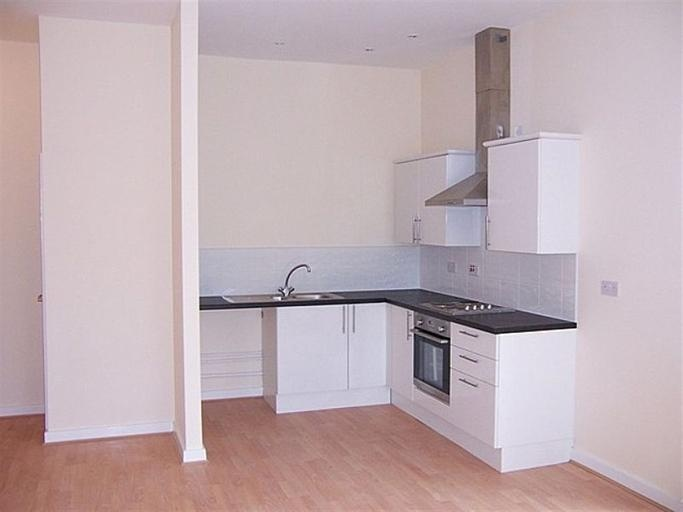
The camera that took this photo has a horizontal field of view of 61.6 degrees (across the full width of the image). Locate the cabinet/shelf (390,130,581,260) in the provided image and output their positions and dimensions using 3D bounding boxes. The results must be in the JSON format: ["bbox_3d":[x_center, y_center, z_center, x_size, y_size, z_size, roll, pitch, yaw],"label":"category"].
[{"bbox_3d":[1.164,-0.502,4.925,0.499,0.914,1.808,-5,7,-27],"label":"cabinet/shelf"}]
